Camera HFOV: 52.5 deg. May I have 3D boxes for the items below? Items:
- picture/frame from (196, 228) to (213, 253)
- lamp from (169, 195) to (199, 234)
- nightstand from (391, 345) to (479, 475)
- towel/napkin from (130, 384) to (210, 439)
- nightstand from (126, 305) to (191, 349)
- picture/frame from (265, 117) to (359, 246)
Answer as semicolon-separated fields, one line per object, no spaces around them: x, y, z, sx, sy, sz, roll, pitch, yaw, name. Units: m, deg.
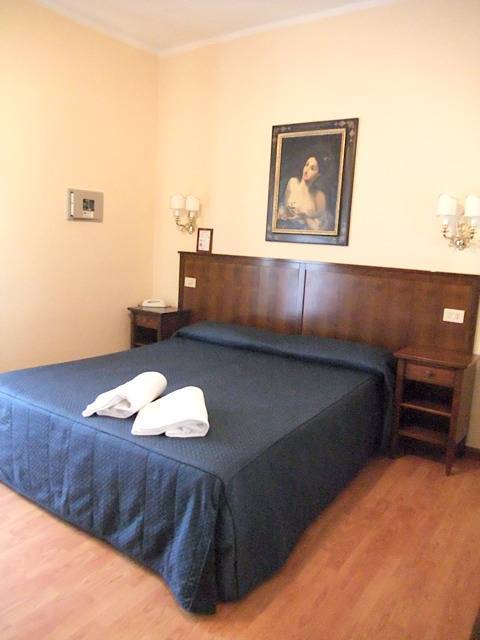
-0.292;-0.665;4.029;0.176;0.240;0.018;8;9;33;picture/frame
-0.460;-0.894;4.066;0.268;0.318;0.166;8;16;25;lamp
1.126;0.503;2.827;0.399;0.634;0.438;7;8;29;nightstand
-0.264;0.360;1.921;0.289;0.116;0.322;2;7;-3;towel/napkin
-0.697;-0.010;4.154;0.413;0.583;0.380;13;16;40;nightstand
0.527;-0.986;3.395;0.765;1.034;0.105;12;14;34;picture/frame
